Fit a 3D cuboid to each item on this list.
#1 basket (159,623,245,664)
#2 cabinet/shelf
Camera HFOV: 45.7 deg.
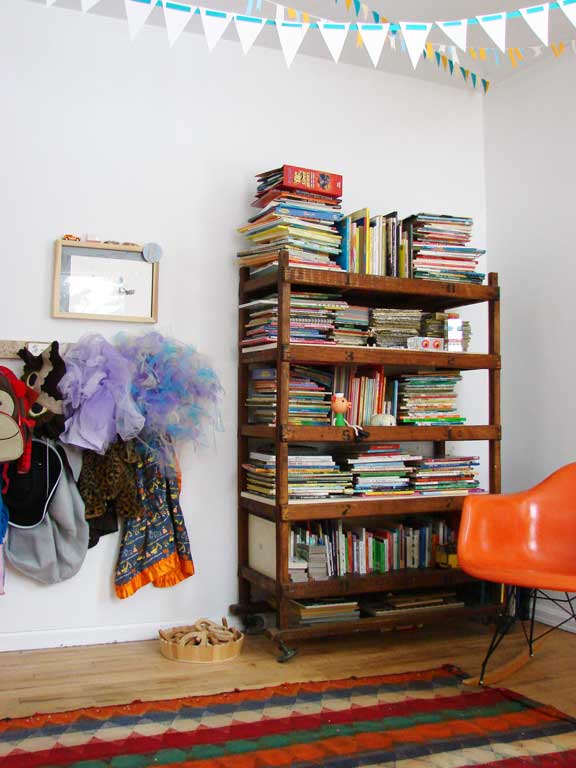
[{"bbox_3d":[-0.310,0.898,2.411,0.296,0.101,0.229,1,-4,4],"label":"basket"},{"bbox_3d":[0.291,0.246,2.719,0.973,1.468,0.520,3,-5,-25],"label":"cabinet/shelf"}]
